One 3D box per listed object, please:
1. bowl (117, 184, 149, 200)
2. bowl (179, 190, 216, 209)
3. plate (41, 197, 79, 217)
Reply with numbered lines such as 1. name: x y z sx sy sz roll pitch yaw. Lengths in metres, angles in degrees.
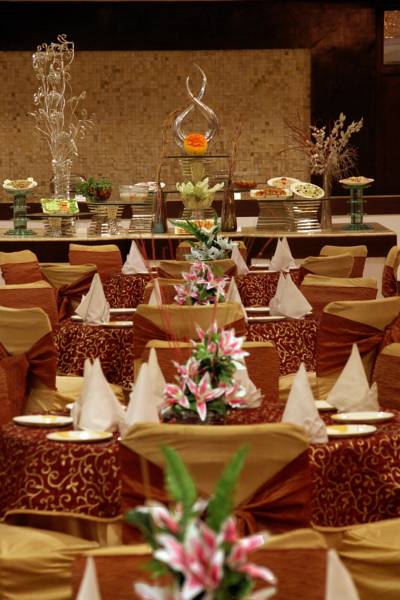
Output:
1. bowl: -0.792 -1.268 5.899 0.256 0.134 0.251 -1 3 0
2. bowl: 0.000 -1.183 5.696 0.268 0.195 0.286 0 3 0
3. plate: -1.726 -1.141 6.033 0.405 0.197 0.621 -7 20 -15
